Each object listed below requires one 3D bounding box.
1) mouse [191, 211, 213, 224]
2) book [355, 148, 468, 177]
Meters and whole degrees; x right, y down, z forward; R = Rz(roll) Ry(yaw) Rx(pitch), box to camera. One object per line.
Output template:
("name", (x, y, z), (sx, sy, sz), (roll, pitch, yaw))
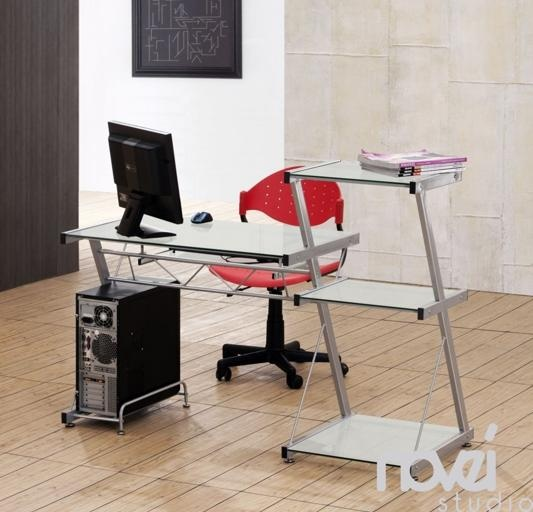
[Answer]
("mouse", (-0.262, -0.157, 2.833), (0.057, 0.022, 0.071), (2, 12, 21))
("book", (0.490, -0.306, 2.287), (0.332, 0.073, 0.355), (-3, 9, -15))
